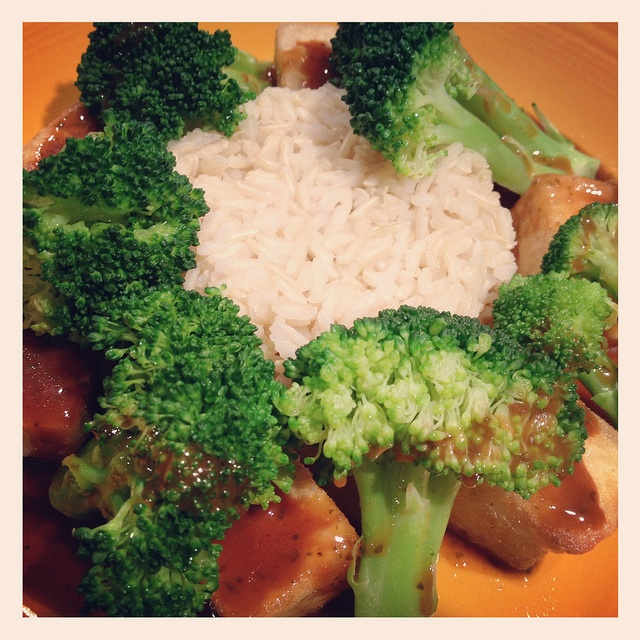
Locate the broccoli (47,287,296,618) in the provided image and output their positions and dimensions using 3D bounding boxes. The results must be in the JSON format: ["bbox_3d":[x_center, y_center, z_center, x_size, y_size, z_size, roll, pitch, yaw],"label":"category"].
[{"bbox_3d":[-0.409,0.378,1.371,0.495,0.337,0.363,43,46,-11],"label":"broccoli"}]

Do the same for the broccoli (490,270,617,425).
[{"bbox_3d":[0.677,0.030,1.682,0.410,0.248,0.188,59,30,-3],"label":"broccoli"}]

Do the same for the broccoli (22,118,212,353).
[{"bbox_3d":[-0.521,-0.195,1.494,0.456,0.300,0.541,-11,104,-34],"label":"broccoli"}]

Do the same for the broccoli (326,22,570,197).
[{"bbox_3d":[0.368,-0.598,1.697,0.571,0.372,0.287,22,70,-25],"label":"broccoli"}]
